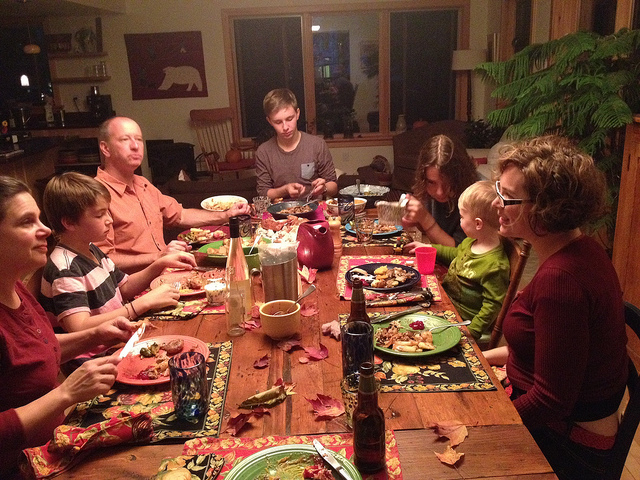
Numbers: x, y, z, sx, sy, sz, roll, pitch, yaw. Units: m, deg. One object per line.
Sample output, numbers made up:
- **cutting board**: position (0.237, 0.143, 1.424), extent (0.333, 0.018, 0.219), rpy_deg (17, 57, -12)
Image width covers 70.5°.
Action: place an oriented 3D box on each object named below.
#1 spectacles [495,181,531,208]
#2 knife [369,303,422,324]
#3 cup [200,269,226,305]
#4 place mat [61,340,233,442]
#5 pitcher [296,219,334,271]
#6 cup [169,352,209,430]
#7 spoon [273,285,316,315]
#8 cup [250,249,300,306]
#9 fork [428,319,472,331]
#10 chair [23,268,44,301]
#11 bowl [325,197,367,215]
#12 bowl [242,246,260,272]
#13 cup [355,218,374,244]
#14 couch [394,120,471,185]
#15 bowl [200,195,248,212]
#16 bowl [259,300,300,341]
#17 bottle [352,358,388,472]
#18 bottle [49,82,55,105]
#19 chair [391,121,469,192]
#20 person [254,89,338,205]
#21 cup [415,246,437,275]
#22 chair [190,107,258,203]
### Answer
- **spectacles**: position (0.622, -0.151, 1.472), extent (0.077, 0.023, 0.080), rpy_deg (0, 25, -1)
- **knife**: position (0.281, 0.277, 1.696), extent (0.174, 0.018, 0.024), rpy_deg (-11, 31, -39)
- **cup**: position (-0.470, 0.193, 1.949), extent (0.131, 0.130, 0.145), rpy_deg (0, 6, 2)
- **place mat**: position (-0.497, 0.443, 1.393), extent (0.439, 0.078, 0.458), rpy_deg (-5, 16, -2)
- **pitcher**: position (-0.018, 0.032, 2.222), extent (0.147, 0.247, 0.155), rpy_deg (7, 16, 17)
- **cup**: position (-0.378, 0.427, 1.301), extent (0.098, 0.173, 0.103), rpy_deg (-5, -10, -1)
- **spoon**: position (-0.100, 0.230, 1.729), extent (0.138, 0.028, 0.019), rpy_deg (-43, 47, -1)
- **cup**: position (-0.192, 0.172, 1.822), extent (0.197, 0.201, 0.128), rpy_deg (-10, 17, -8)
- **fork**: position (0.455, 0.303, 1.616), extent (0.155, 0.028, 0.020), rpy_deg (-10, -24, 14)
- **chair**: position (-1.731, 0.261, 2.728), extent (0.147, 0.149, 0.108), rpy_deg (-8, 4, -24)
- **bowl**: position (0.189, -0.237, 3.040), extent (0.282, 0.103, 0.380), rpy_deg (-6, 16, -6)
- **bowl**: position (-0.308, 0.088, 2.147), extent (0.100, 0.113, 0.107), rpy_deg (-3, 9, 0)
- **cup**: position (0.246, -0.056, 2.503), extent (0.119, 0.145, 0.123), rpy_deg (-1, 6, 0)
- **couch**: position (1.629, -1.134, 6.500), extent (0.827, 1.129, 1.016), rpy_deg (-5, 14, -8)
- **bowl**: position (-0.692, -0.286, 3.238), extent (0.278, 0.064, 0.627), rpy_deg (-8, 16, -12)
- **bowl**: position (-0.141, 0.286, 1.634), extent (0.127, 0.101, 0.137), rpy_deg (-1, 12, 0)
- **bottle**: position (0.114, 0.402, 1.045), extent (0.085, 0.302, 0.077), rpy_deg (-6, 15, -5)
- **bottle**: position (-4.291, -2.370, 7.268), extent (0.045, 0.294, 0.079), rpy_deg (-2, 15, 10)
- **chair**: position (1.626, -1.226, 6.527), extent (0.832, 1.073, 0.998), rpy_deg (-6, 9, -18)
- **person**: position (-0.238, -0.795, 3.793), extent (0.694, 0.936, 0.828), rpy_deg (-3, 15, 6)
- **cup**: position (0.475, 0.095, 2.099), extent (0.099, 0.111, 0.111), rpy_deg (-1, 7, -1)
- **chair**: position (-1.491, -1.353, 7.428), extent (0.792, 1.549, 0.694), rpy_deg (-21, 27, -37)
